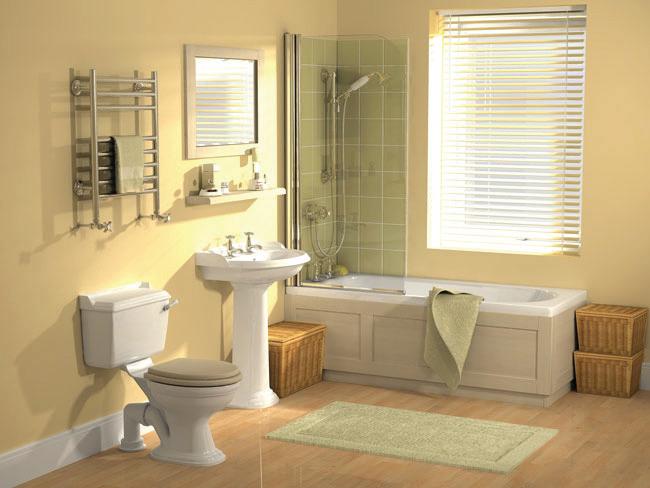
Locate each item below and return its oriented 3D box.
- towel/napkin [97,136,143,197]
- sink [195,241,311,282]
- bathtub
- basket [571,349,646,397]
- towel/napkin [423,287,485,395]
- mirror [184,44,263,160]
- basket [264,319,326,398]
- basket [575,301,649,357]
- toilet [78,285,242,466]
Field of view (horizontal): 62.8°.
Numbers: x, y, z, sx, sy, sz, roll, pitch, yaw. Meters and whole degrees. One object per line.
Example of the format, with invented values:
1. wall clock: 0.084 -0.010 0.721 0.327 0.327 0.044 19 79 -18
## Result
1. towel/napkin: -1.189 -0.450 3.056 0.182 0.343 0.359 2 4 24
2. sink: -0.469 0.145 4.016 0.750 0.257 0.784 0 7 16
3. bathtub: 0.943 0.409 4.323 1.710 0.281 0.830 -1 1 19
4. basket: 2.153 1.002 4.097 0.530 0.371 0.321 1 3 30
5. towel/napkin: 0.944 0.705 4.044 0.408 0.701 0.329 6 12 31
6. mirror: -0.737 -1.054 3.931 0.765 0.755 0.045 9 14 32
7. basket: -0.221 0.865 4.317 0.427 0.542 0.749 1 4 22
8. basket: 2.249 0.651 4.201 0.591 0.404 0.345 2 2 30
9. toilet: -0.903 0.758 3.139 0.880 0.929 0.562 1 -1 20
